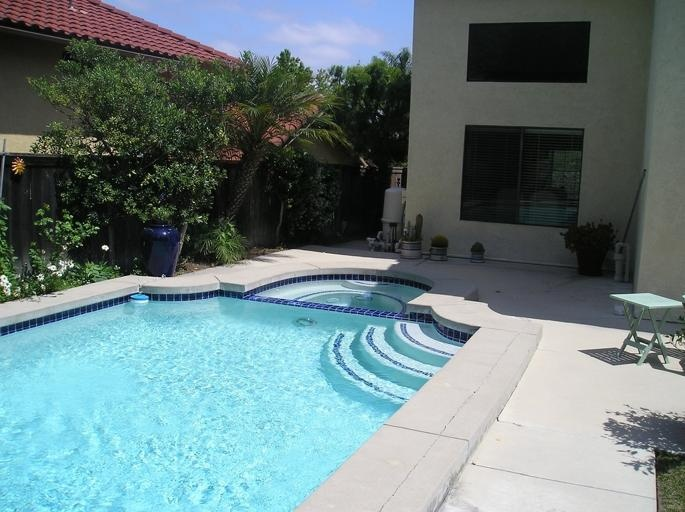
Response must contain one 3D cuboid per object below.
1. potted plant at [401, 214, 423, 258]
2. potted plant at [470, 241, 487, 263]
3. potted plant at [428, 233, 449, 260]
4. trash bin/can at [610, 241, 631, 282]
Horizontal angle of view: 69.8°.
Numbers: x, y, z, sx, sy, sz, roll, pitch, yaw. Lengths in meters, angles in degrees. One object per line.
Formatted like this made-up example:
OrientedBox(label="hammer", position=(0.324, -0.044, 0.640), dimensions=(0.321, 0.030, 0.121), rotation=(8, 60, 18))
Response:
OrientedBox(label="potted plant", position=(1.773, -0.514, 12.715), dimensions=(0.526, 1.047, 0.644), rotation=(3, 14, 7))
OrientedBox(label="potted plant", position=(3.404, -0.092, 12.356), dimensions=(0.397, 0.447, 0.431), rotation=(-1, 3, -3))
OrientedBox(label="potted plant", position=(2.313, -0.211, 12.638), dimensions=(0.540, 0.752, 0.558), rotation=(1, 4, -2))
OrientedBox(label="trash bin/can", position=(6.055, 0.127, 10.684), dimensions=(0.312, 0.837, 0.406), rotation=(12, 18, 36))
